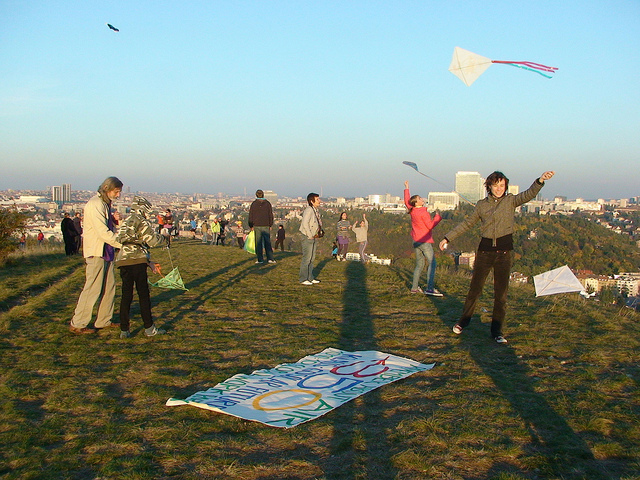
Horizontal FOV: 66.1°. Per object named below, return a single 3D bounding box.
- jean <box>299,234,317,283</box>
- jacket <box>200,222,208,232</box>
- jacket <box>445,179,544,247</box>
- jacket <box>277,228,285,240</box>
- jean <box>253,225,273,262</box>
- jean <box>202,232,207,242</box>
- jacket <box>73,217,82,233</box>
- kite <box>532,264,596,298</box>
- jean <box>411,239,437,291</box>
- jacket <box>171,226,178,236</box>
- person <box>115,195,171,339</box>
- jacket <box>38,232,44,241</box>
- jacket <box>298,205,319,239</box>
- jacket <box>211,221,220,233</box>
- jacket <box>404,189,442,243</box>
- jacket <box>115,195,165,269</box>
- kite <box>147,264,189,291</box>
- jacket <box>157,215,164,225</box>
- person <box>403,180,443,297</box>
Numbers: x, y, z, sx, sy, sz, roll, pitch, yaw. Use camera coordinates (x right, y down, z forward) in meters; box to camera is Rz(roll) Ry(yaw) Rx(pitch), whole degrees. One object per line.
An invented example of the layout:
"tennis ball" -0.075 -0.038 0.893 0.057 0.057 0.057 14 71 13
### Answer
"jean" -0.312 0.465 12.797 0.431 1.349 0.595 0 9 -3
"jacket" -6.428 -0.729 27.550 0.347 0.674 0.609 -8 14 -26
"jacket" 2.951 -0.451 8.215 1.723 1.131 0.429 -2 -7 31
"jacket" -1.834 -0.293 23.356 0.526 0.786 0.432 1 -3 -5
"jean" -1.855 0.103 16.113 0.477 0.480 1.848 5 38 -16
"jean" -6.560 -0.200 27.895 0.153 0.505 0.639 -2 10 -12
"jacket" -10.487 -0.638 21.164 0.270 0.707 0.524 -5 11 -34
"kite" 5.215 0.984 10.759 1.075 0.243 1.195 -24 20 7
"jean" 2.438 0.587 11.455 0.519 1.232 0.622 2 9 13
"jacket" -9.047 -0.576 30.444 0.453 0.445 0.774 2 -36 -10
"person" -2.979 0.456 8.073 0.675 2.315 0.397 -4 9 -28
"jacket" -15.364 -0.217 27.025 0.337 0.433 0.141 1 13 -1
"jacket" -0.254 -0.512 12.563 0.511 0.796 0.733 7 12 18
"jacket" -5.493 -0.689 25.844 0.702 0.756 0.391 0 0 -16
"jacket" 2.362 -0.477 11.258 0.753 1.046 0.606 2 9 12
"jacket" -2.990 -0.144 8.075 0.739 1.147 0.542 -6 10 -34
"kite" -3.465 0.943 11.568 0.713 0.523 0.584 -3 10 -18
"jacket" -4.272 -0.551 13.173 0.243 0.245 0.252 0 4 -5
"person" 2.414 0.022 11.315 0.941 2.633 1.157 2 9 13
